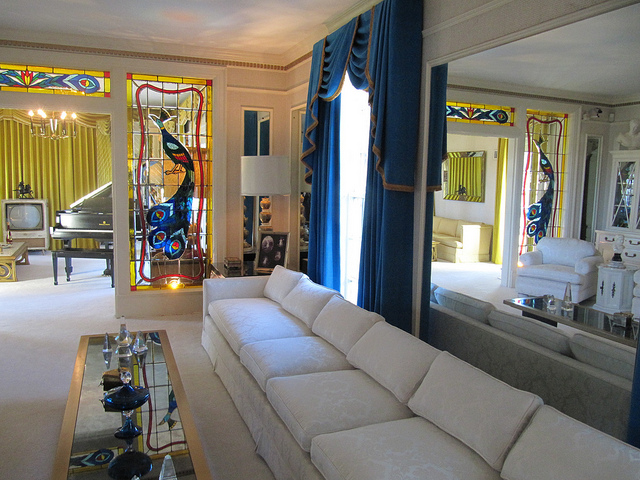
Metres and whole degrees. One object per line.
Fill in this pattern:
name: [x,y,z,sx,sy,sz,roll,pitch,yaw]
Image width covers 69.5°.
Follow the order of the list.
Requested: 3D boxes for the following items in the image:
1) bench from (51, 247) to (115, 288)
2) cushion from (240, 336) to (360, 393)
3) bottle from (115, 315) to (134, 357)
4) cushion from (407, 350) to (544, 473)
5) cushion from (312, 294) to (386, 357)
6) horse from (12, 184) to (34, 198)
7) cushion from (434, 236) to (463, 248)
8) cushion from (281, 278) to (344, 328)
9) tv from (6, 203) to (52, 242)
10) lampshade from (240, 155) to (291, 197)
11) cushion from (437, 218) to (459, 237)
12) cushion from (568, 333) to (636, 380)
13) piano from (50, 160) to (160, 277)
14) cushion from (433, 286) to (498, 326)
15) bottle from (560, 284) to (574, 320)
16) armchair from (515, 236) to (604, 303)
bench: [-3.643,0.388,7.344,1.017,0.563,0.753,1,10,1]
cushion: [-0.189,0.954,3.499,0.843,0.190,0.889,3,-1,-37]
bottle: [-1.289,0.647,3.031,0.135,0.266,0.137,-8,-9,-1]
cushion: [0.815,0.901,2.424,0.162,0.457,0.600,37,-10,-36]
cushion: [0.185,0.643,3.524,0.163,0.351,0.567,37,-11,-21]
horse: [-6.132,-1.006,9.528,0.332,0.266,0.173,-4,11,-28]
cushion: [0.973,0.008,3.510,0.020,0.079,0.279,-5,11,-30]
cushion: [-0.038,0.554,4.086,0.154,0.352,0.531,36,-11,-23]
tv: [-5.934,-0.359,9.311,0.730,0.891,0.400,-2,7,-26]
lampshade: [-0.633,-0.729,5.340,0.463,0.374,0.460,0,7,10]
cushion: [0.974,-0.098,3.523,0.052,0.124,0.208,-4,10,-23]
cushion: [1.512,0.622,2.497,0.034,0.157,0.357,-4,11,-26]
piano: [-4.048,-0.179,7.855,1.135,1.473,1.439,-14,-10,35]
cushion: [1.049,0.473,3.410,0.029,0.164,0.627,-4,10,-24]
bottle: [1.413,0.361,2.636,0.023,0.182,0.087,-1,10,-10]
armchair: [1.420,0.164,2.749,0.297,0.344,0.410,-7,10,-36]
